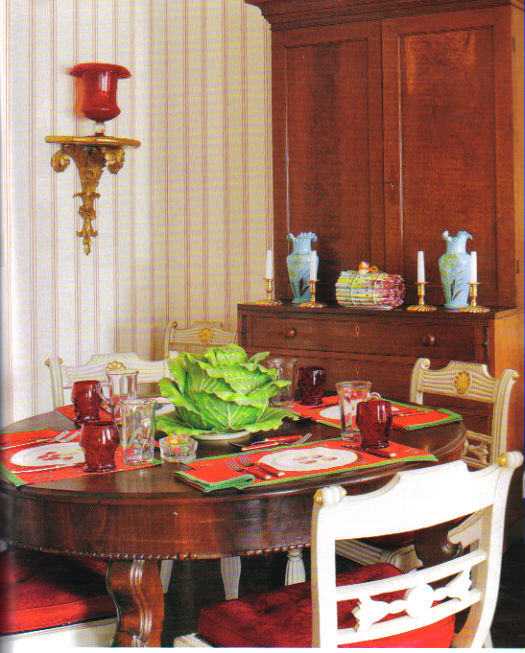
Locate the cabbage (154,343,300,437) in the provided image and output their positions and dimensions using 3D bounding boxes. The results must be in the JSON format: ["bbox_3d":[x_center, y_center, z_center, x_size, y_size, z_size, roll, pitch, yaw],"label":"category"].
[{"bbox_3d":[-0.074,0.130,1.520,0.294,0.158,0.285,-4,10,2],"label":"cabbage"}]

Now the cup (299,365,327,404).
[{"bbox_3d":[0.125,0.162,1.900,0.100,0.100,0.096,0,1,0],"label":"cup"}]

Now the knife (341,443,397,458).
[{"bbox_3d":[0.209,0.242,1.373,0.108,0.017,0.028,6,4,30],"label":"knife"}]

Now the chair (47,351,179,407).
[{"bbox_3d":[-0.449,0.150,2.017,0.312,0.168,0.126,-4,2,-37],"label":"chair"}]

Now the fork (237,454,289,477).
[{"bbox_3d":[-0.007,0.245,1.245,0.026,0.012,0.092,-7,8,-24],"label":"fork"}]

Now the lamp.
[{"bbox_3d":[-0.747,-0.725,3.080,0.343,0.812,0.644,-3,6,9],"label":"lamp"}]

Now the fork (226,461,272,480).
[{"bbox_3d":[-0.020,0.250,1.225,0.024,0.007,0.086,-7,3,-28],"label":"fork"}]

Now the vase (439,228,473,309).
[{"bbox_3d":[0.819,-0.235,2.955,0.131,0.325,0.130,-3,6,15],"label":"vase"}]

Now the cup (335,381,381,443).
[{"bbox_3d":[0.187,0.190,1.517,0.128,0.128,0.110,-1,-3,-4],"label":"cup"}]

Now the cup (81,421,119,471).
[{"bbox_3d":[-0.292,0.211,1.253,0.091,0.084,0.085,0,-1,0],"label":"cup"}]
